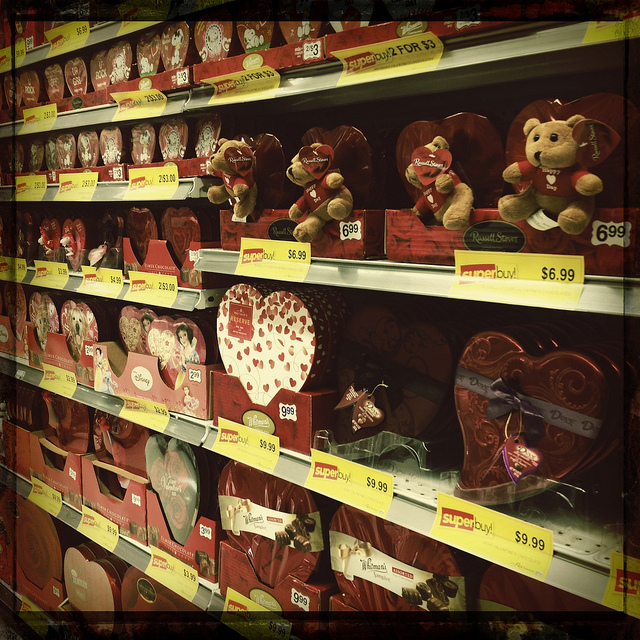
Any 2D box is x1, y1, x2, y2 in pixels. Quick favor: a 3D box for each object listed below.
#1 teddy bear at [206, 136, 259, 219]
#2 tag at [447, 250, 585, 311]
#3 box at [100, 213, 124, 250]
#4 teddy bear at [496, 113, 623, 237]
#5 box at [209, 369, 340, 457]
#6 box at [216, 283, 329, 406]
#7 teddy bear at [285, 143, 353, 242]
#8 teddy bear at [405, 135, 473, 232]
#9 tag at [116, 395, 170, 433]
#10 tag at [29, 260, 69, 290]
[{"bbox_3d":[-0.245,-0.411,1.392,0.131,0.203,0.165,-25,45,-38],"label":"teddy bear"},{"bbox_3d":[0.350,-0.078,0.896,0.226,0.106,0.065,7,-3,29],"label":"tag"},{"bbox_3d":[-0.815,-0.351,1.956,0.094,0.158,0.046,7,11,27],"label":"box"},{"bbox_3d":[0.402,-0.255,0.847,0.119,0.184,0.172,-36,39,-28],"label":"teddy bear"},{"bbox_3d":[-0.151,0.253,1.416,0.441,0.179,0.127,6,14,34],"label":"box"},{"bbox_3d":[-0.134,0.077,1.420,0.321,0.333,0.117,4,8,28],"label":"box"},{"bbox_3d":[-0.003,-0.304,1.189,0.188,0.230,0.092,8,15,43],"label":"teddy bear"},{"bbox_3d":[0.236,-0.284,1.023,0.163,0.197,0.124,3,13,27],"label":"teddy bear"},{"bbox_3d":[-0.641,0.327,1.758,0.317,0.087,0.051,7,15,38],"label":"tag"},{"bbox_3d":[-1.188,-0.200,2.159,0.306,0.111,0.055,7,15,39],"label":"tag"}]
